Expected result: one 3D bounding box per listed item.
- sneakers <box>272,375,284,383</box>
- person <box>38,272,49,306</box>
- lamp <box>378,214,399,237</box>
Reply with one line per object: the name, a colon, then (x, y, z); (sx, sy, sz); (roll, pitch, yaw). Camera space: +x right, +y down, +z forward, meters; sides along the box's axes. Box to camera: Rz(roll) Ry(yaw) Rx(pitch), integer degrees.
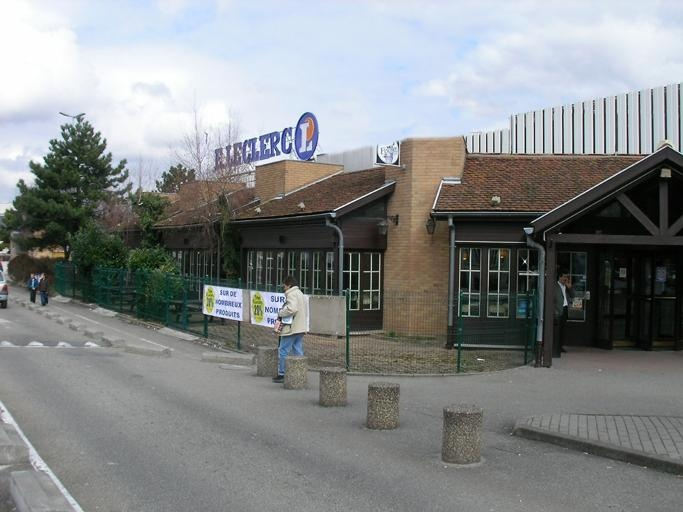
sneakers: (-1.394, 2.728, 15.951); (0.263, 0.120, 0.114); (3, -7, -1)
person: (-14.678, 1.663, 35.272); (0.366, 1.540, 1.517); (1, -2, -24)
lamp: (1.581, -1.055, 23.719); (0.786, 0.990, 0.462); (5, -5, -35)
